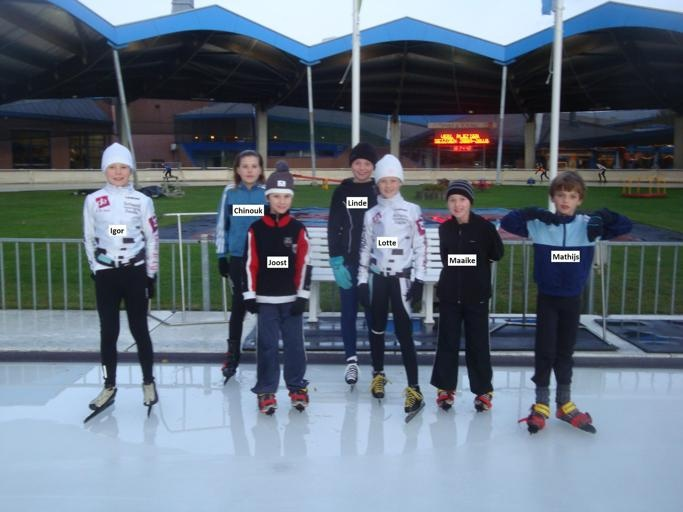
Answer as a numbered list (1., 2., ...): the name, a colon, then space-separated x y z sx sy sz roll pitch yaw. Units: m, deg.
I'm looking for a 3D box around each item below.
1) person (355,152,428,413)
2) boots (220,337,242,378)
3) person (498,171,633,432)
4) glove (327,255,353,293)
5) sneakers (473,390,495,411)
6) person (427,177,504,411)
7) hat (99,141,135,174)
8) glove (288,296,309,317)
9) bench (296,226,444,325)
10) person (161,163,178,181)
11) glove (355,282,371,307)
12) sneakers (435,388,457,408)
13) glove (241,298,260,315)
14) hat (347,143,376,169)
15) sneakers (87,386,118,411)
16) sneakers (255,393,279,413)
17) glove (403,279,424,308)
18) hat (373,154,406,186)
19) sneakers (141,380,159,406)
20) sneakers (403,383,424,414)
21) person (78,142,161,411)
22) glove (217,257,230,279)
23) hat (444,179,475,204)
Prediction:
1. person: 0.664 0.347 11.037 0.937 3.383 0.755 1 5 15
2. boots: -1.570 1.441 11.665 0.237 0.459 0.681 2 2 7
3. person: 2.767 0.566 10.565 1.397 3.269 0.806 1 5 10
4. glove: 0.003 0.246 11.282 0.296 0.438 0.110 -9 9 16
5. sneakers: 1.885 1.909 10.874 0.193 0.096 0.256 5 15 33
6. person: 1.629 0.522 10.873 0.883 3.017 0.351 0 5 7
7. hat: -2.954 -1.281 10.917 0.346 0.377 0.450 2 -32 -18
8. glove: -0.551 0.668 10.860 0.209 0.243 0.083 16 -3 11
9. bench: 0.413 0.236 11.537 1.596 1.096 0.602 0 14 2
10. person: -9.070 -4.342 43.717 0.686 0.641 1.966 -1 5 -8
11. glove: 0.293 0.524 11.050 0.161 0.329 0.173 0 5 0
12. sneakers: 1.373 1.889 10.885 0.261 0.238 0.197 -1 -12 13
13. glove: -1.188 0.668 10.810 0.193 0.171 0.189 1 7 5
14. hat: 0.280 -1.410 11.417 0.323 0.253 0.313 4 -24 11
15. sneakers: -3.108 1.859 10.855 0.182 0.181 0.446 4 37 19
16. sneakers: -0.997 1.928 10.835 0.306 0.268 0.231 1 5 14
17. glove: 1.033 0.511 11.102 0.257 0.377 0.390 5 -9 -33
18. hat: 0.638 -1.167 11.140 0.365 0.389 0.328 0 5 1
19. sneakers: -2.505 1.819 10.871 0.202 0.309 0.116 -2 -14 10
20. sneakers: 0.942 1.878 10.805 0.252 0.363 0.250 0 5 6
21. person: -2.855 0.282 10.778 0.928 3.482 0.546 -2 5 -17
22. glove: -1.684 0.173 11.641 0.070 0.242 0.184 -5 -4 1
23. hat: 1.561 -0.857 10.835 0.335 0.253 0.337 3 -3 14
